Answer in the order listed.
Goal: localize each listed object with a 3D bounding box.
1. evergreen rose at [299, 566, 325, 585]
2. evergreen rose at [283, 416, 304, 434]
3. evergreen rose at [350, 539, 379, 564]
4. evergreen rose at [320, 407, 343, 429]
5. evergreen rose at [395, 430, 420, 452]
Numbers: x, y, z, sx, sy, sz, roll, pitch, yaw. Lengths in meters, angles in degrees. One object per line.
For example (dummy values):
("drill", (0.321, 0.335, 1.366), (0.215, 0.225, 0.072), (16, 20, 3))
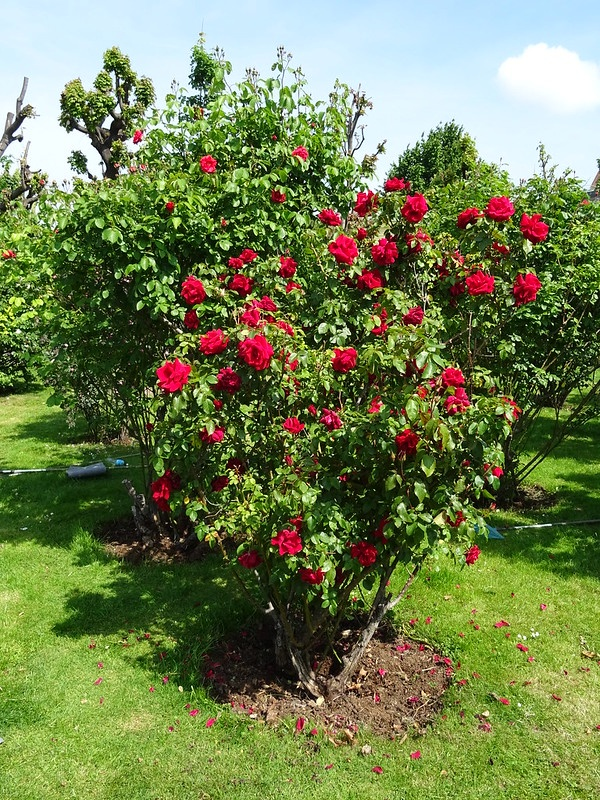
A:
("evergreen rose", (0.064, 0.946, 3.405), (0.129, 0.115, 0.062), (1, 13, 38))
("evergreen rose", (-0.040, 0.146, 3.555), (0.096, 0.063, 0.095), (-6, 41, -1))
("evergreen rose", (0.341, 0.823, 3.360), (0.124, 0.122, 0.061), (-19, -18, -17))
("evergreen rose", (0.181, 0.097, 3.464), (0.055, 0.102, 0.108), (-35, 27, -8))
("evergreen rose", (0.541, 0.205, 3.113), (0.110, 0.106, 0.067), (33, 30, 6))
